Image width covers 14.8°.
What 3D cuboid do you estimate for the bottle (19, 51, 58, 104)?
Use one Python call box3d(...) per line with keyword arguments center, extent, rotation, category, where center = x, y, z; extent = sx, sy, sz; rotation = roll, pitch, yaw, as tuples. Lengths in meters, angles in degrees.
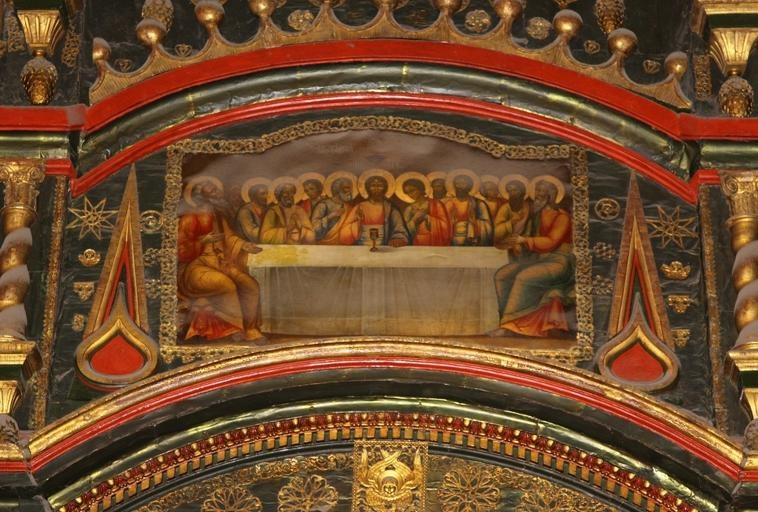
box3d(center=(-3.175, -1.643, 27.132), extent=(0.304, 0.462, 0.232), rotation=(4, -38, -3), category="bottle")
